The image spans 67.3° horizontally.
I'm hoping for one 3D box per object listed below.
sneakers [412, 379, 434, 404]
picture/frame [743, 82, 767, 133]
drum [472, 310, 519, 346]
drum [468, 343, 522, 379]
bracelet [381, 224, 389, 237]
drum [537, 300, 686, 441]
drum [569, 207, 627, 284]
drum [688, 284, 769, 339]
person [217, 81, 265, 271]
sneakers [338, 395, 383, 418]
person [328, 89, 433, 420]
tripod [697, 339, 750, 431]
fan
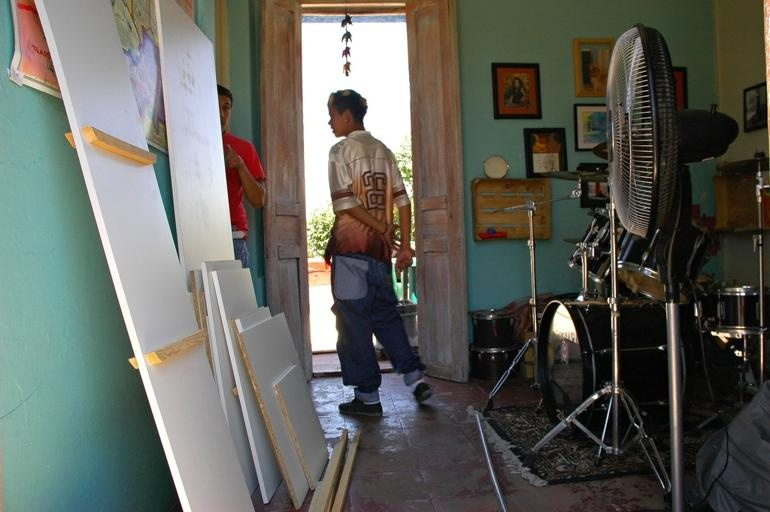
[{"bbox_3d":[0.278,0.983,4.232,0.096,0.106,0.242,-3,-7,-4],"label":"sneakers"},{"bbox_3d":[3.476,-1.386,5.422,0.088,0.426,0.268,-3,5,-12],"label":"picture/frame"},{"bbox_3d":[0.951,0.613,5.075,0.325,0.286,0.328,-1,-4,0],"label":"drum"},{"bbox_3d":[0.913,0.898,4.931,0.304,0.217,0.310,0,-5,0],"label":"drum"},{"bbox_3d":[0.001,-0.179,4.023,0.036,0.065,0.045,4,8,24],"label":"bracelet"},{"bbox_3d":[1.350,0.528,3.693,0.762,1.010,0.919,-4,-3,-16],"label":"drum"},{"bbox_3d":[1.496,-0.064,4.087,0.168,0.440,0.455,12,35,7],"label":"drum"},{"bbox_3d":[2.339,0.306,3.923,0.434,0.315,0.446,-1,0,0],"label":"drum"},{"bbox_3d":[-0.985,-0.548,4.047,0.264,1.326,1.136,-3,5,-12],"label":"person"},{"bbox_3d":[-0.168,1.064,4.092,0.329,0.145,0.120,2,-5,16],"label":"sneakers"},{"bbox_3d":[-0.077,0.096,4.074,0.647,1.982,0.345,-4,6,-17],"label":"person"},{"bbox_3d":[2.338,0.888,3.996,0.451,0.545,0.422,2,10,32],"label":"tripod"},{"bbox_3d":[1.074,0.108,2.283,0.461,1.931,0.327,-5,6,-28],"label":"fan"}]
